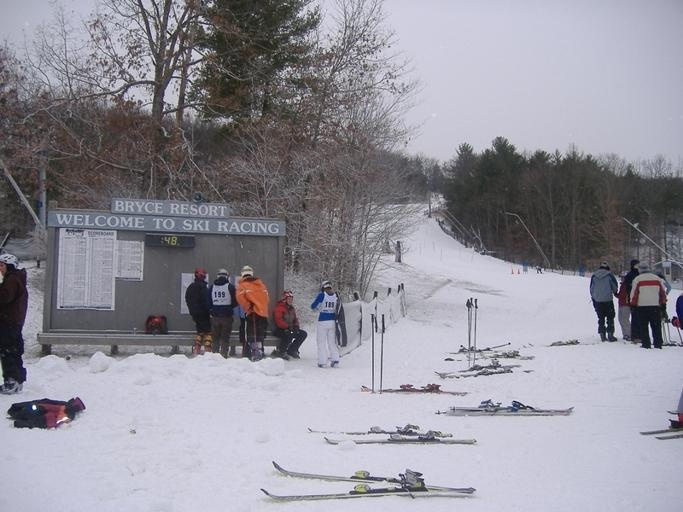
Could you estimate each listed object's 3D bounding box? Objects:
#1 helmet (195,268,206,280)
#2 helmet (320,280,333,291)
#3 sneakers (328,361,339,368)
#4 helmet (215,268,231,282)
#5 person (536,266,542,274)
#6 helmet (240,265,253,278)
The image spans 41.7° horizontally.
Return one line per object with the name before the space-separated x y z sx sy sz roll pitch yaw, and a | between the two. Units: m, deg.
helmet | -3.873 0.477 24.286 0.281 0.320 0.255 -7 -3 30
helmet | -0.398 0.794 24.643 0.203 0.289 0.290 2 -48 -21
sneakers | -0.198 2.947 24.609 0.173 0.185 0.138 -4 1 -4
helmet | -3.161 0.490 23.979 0.279 0.223 0.422 1 -10 -5
person | 14.475 0.956 66.299 0.439 0.636 1.044 -2 -3 -3
helmet | -2.507 0.393 24.062 0.236 0.306 0.328 0 -9 -10
